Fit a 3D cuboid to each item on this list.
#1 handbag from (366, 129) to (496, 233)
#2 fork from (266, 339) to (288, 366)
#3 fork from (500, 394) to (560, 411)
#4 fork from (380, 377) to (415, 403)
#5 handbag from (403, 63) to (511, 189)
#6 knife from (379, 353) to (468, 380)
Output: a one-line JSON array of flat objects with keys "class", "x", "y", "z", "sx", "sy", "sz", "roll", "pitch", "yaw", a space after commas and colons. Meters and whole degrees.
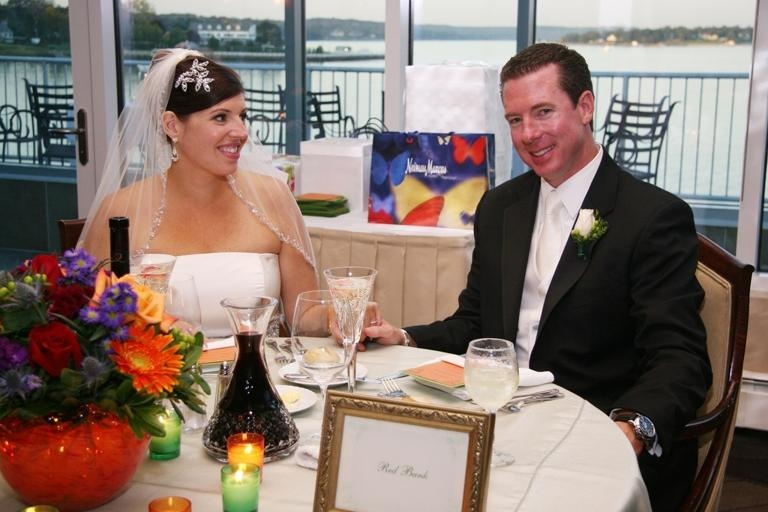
[{"class": "handbag", "x": 0.261, "y": -0.425, "z": 3.479, "sx": 0.671, "sy": 0.525, "sz": 0.221, "roll": 2, "pitch": 0, "yaw": 6}, {"class": "fork", "x": -0.349, "y": 0.307, "z": 2.037, "sx": 0.034, "sy": 0.026, "sz": 0.215, "roll": 5, "pitch": 5, "yaw": -15}, {"class": "fork", "x": 0.419, "y": 0.409, "z": 1.781, "sx": 0.144, "sy": 0.011, "sz": 0.062, "roll": -9, "pitch": 22, "yaw": -32}, {"class": "fork", "x": 0.028, "y": 0.365, "z": 1.764, "sx": 0.035, "sy": 0.032, "sz": 0.217, "roll": -3, "pitch": 5, "yaw": -11}, {"class": "handbag", "x": 0.512, "y": -0.790, "z": 4.216, "sx": 0.641, "sy": 1.273, "sz": 0.695, "roll": 2, "pitch": 5, "yaw": 16}, {"class": "knife", "x": 0.115, "y": 0.336, "z": 1.902, "sx": 0.069, "sy": 0.024, "sz": 0.216, "roll": 5, "pitch": 16, "yaw": 43}]
